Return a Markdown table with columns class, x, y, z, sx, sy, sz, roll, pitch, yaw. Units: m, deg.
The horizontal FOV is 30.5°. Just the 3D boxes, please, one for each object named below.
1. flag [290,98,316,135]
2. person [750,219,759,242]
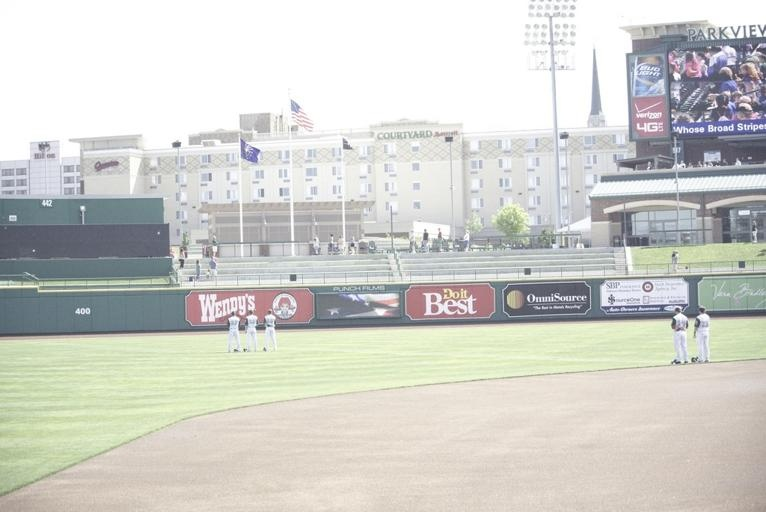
| class | x | y | z | sx | sy | sz | roll | pitch | yaw |
| --- | --- | --- | --- | --- | --- | --- | --- | --- | --- |
| flag | -6.280 | -10.785 | 106.941 | 1.411 | 2.327 | 3.066 | -4 | -1 | -2 |
| person | 29.710 | -2.136 | 112.168 | 0.760 | 1.756 | 0.636 | -4 | -1 | -11 |
